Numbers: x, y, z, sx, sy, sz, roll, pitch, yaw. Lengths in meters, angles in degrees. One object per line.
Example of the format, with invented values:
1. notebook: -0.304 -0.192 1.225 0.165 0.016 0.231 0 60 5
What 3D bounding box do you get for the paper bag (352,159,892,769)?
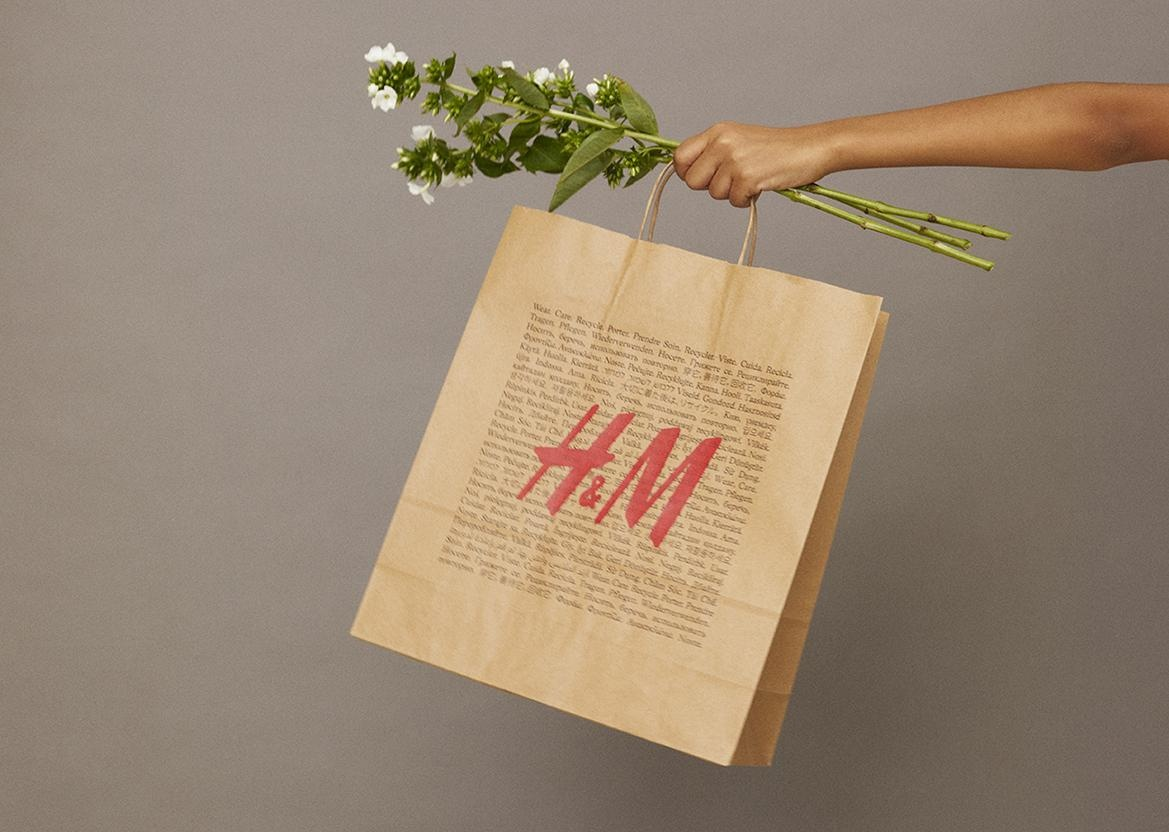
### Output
1. paper bag: 0.082 0.015 1.782 0.546 0.843 0.256 14 -10 18
